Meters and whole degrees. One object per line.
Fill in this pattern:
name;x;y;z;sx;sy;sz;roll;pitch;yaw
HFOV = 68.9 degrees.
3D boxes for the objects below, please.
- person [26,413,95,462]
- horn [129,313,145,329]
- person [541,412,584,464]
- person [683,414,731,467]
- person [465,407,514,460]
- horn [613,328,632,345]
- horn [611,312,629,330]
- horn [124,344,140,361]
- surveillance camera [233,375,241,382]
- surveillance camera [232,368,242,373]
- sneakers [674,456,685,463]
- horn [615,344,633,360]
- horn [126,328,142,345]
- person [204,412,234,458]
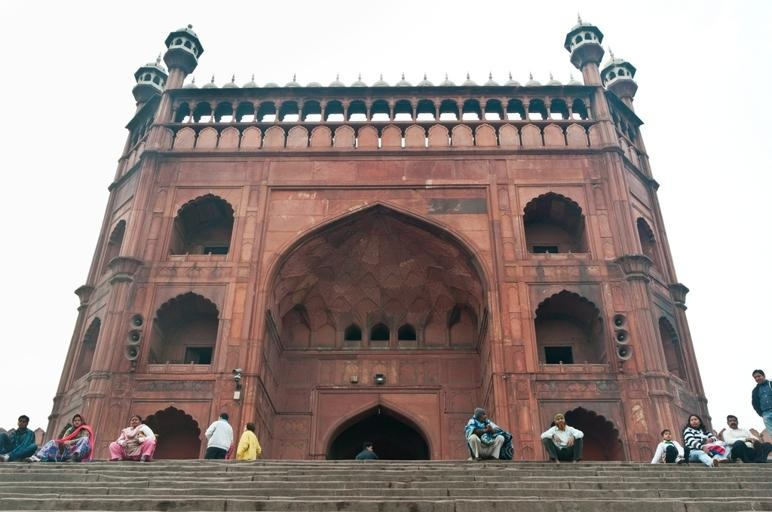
person;-5.404;3.077;9.431;0.801;0.724;0.482;7;-28;-16
horn;-6.626;1.719;14.791;0.348;0.338;0.246;7;-23;-2
person;2.953;3.121;9.594;0.575;0.768;0.485;14;-30;-26
person;5.435;3.114;9.509;0.594;0.940;0.875;-2;-27;2
person;1.777;3.076;9.764;0.725;0.923;0.643;-5;-27;8
horn;6.123;2.077;14.605;0.488;0.429;0.355;-1;-6;-13
horn;6.144;1.722;14.792;0.377;0.375;0.387;22;-3;13
horn;-6.595;2.511;14.525;0.386;0.350;0.380;3;-6;-12
surveillance camera;-3.785;3.090;14.210;0.168;0.145;0.119;3;-27;-8
surveillance camera;-3.792;2.916;14.290;0.228;0.116;0.108;5;-27;-11
sneakers;4.988;3.447;9.532;0.083;0.095;0.238;-1;-7;13
horn;6.068;2.440;14.333;0.378;0.377;0.391;-9;-16;3
horn;-6.623;2.130;14.692;0.338;0.427;0.137;-7;-28;12
person;-3.175;3.396;10.608;0.481;0.857;0.481;8;-28;-15
